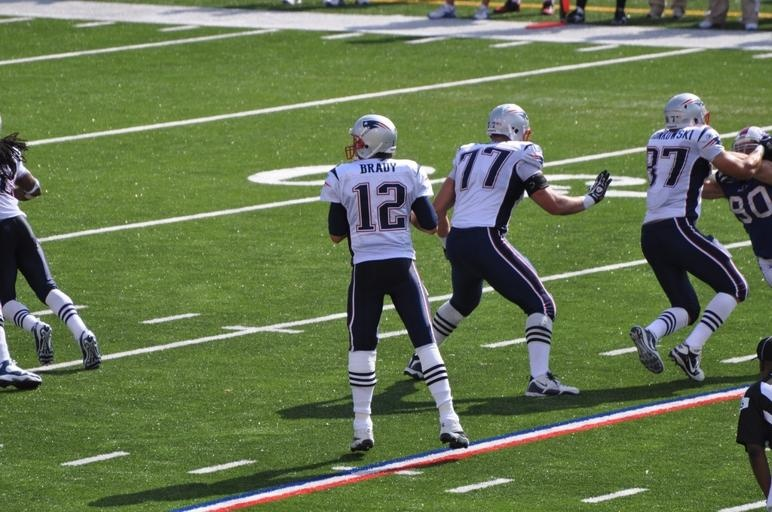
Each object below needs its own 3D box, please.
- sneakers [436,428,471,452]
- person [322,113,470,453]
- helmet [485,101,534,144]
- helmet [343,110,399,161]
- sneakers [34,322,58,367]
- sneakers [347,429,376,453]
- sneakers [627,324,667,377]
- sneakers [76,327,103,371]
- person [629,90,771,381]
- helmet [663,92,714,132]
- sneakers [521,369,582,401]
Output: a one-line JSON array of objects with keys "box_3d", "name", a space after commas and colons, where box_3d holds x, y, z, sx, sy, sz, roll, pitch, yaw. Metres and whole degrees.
[{"box_3d": [0.521, 1.395, 10.358, 0.233, 0.184, 0.253, 2, 12, 2], "name": "sneakers"}, {"box_3d": [0.022, 0.195, 10.578, 0.964, 2.519, 1.359, -7, 16, -31], "name": "person"}, {"box_3d": [1.076, -1.168, 11.568, 0.399, 0.277, 0.274, -4, 23, -28], "name": "helmet"}, {"box_3d": [-0.151, -0.961, 10.822, 0.450, 0.309, 0.348, 2, 6, 15], "name": "helmet"}, {"box_3d": [-2.909, 0.735, 11.732, 0.155, 0.392, 0.191, -14, 10, -28], "name": "sneakers"}, {"box_3d": [-0.185, 1.421, 10.382, 0.127, 0.131, 0.228, 3, -12, -14], "name": "sneakers"}, {"box_3d": [2.182, 0.779, 11.449, 0.184, 0.475, 0.232, -36, -5, 42], "name": "sneakers"}, {"box_3d": [-2.555, 0.800, 11.702, 0.163, 0.373, 0.185, -4, 3, -16], "name": "sneakers"}, {"box_3d": [2.629, -0.176, 11.623, 0.914, 2.355, 1.209, 4, 14, 12], "name": "person"}, {"box_3d": [2.647, -1.282, 11.907, 0.422, 0.278, 0.293, -3, 10, -20], "name": "helmet"}, {"box_3d": [1.327, 1.071, 11.213, 0.551, 0.201, 0.169, 0, 0, -4], "name": "sneakers"}]
